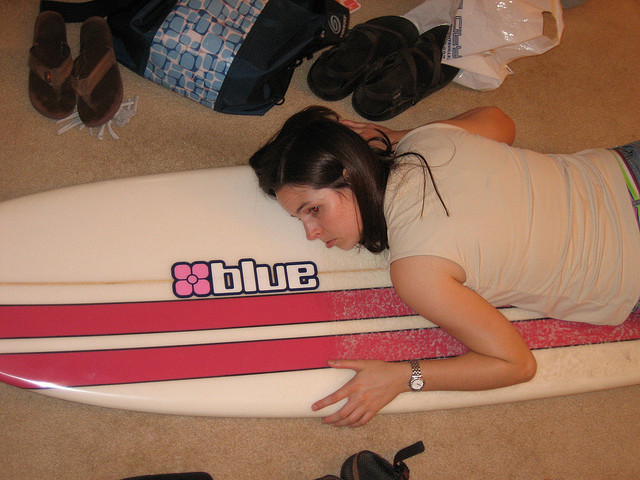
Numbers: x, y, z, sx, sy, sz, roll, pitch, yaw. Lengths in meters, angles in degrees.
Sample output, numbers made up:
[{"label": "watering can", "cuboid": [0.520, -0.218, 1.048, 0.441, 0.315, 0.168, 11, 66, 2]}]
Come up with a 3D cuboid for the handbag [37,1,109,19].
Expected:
[{"label": "handbag", "cuboid": [-1.135, -1.056, 2.598, 0.241, 0.097, 0.078, 1, 101, -7]}]

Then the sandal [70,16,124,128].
[{"label": "sandal", "cuboid": [-0.975, -0.740, 2.470, 0.180, 0.120, 0.467, -6, 89, -3]}]

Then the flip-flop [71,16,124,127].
[{"label": "flip-flop", "cuboid": [-0.962, -0.754, 2.496, 0.190, 0.126, 0.511, -18, 65, 18]}]

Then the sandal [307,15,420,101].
[{"label": "sandal", "cuboid": [0.195, -0.877, 2.721, 0.571, 0.173, 0.278, -42, 89, -2]}]

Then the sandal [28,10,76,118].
[{"label": "sandal", "cuboid": [-1.172, -0.743, 2.464, 0.172, 0.126, 0.517, -4, 84, -8]}]
